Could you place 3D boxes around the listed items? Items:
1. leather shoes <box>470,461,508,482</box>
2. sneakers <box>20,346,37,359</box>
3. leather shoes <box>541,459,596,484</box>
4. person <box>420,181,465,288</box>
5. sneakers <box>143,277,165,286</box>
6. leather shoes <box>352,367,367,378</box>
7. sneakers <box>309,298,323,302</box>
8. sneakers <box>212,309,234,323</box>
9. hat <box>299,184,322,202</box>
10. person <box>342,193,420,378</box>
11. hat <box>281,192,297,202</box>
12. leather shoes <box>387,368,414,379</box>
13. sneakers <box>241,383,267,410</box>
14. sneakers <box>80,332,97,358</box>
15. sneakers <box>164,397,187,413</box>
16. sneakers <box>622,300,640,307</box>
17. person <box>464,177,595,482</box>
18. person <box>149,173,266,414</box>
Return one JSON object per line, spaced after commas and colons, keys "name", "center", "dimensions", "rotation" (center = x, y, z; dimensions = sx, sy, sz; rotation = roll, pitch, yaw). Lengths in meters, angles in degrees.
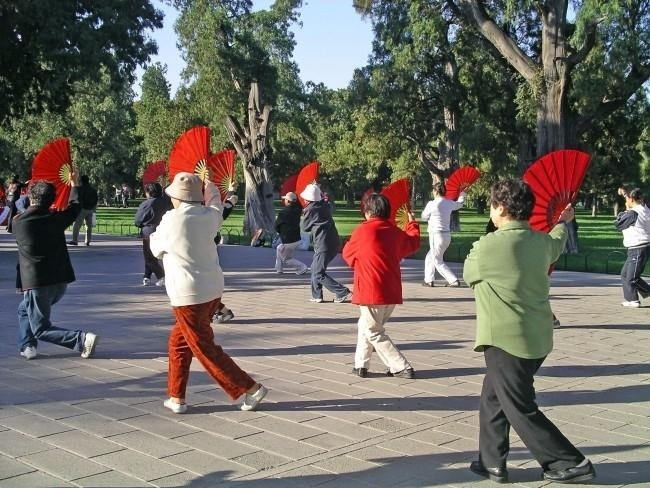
{"name": "leather shoes", "center": [1.860, 2.565, 10.388], "dimensions": [0.178, 0.165, 0.420], "rotation": [0, 6, -37]}
{"name": "sneakers", "center": [-4.349, 1.578, 13.349], "dimensions": [0.118, 0.115, 0.306], "rotation": [0, 4, -33]}
{"name": "leather shoes", "center": [2.775, 2.545, 10.238], "dimensions": [0.623, 0.248, 0.220], "rotation": [0, -4, -3]}
{"name": "person", "center": [2.501, -0.156, 19.469], "dimensions": [0.795, 2.258, 1.166], "rotation": [0, 12, 7]}
{"name": "sneakers", "center": [-3.668, 0.811, 19.440], "dimensions": [0.550, 0.190, 0.166], "rotation": [2, 0, -3]}
{"name": "leather shoes", "center": [0.483, 1.795, 12.832], "dimensions": [0.103, 0.113, 0.193], "rotation": [-2, 11, -27]}
{"name": "sneakers", "center": [-0.155, 1.074, 17.513], "dimensions": [0.208, 0.077, 0.083], "rotation": [4, 4, 44]}
{"name": "sneakers", "center": [-1.746, 1.238, 15.635], "dimensions": [0.439, 0.136, 0.183], "rotation": [-14, -12, -5]}
{"name": "hat", "center": [-0.258, -0.996, 17.884], "dimensions": [0.404, 0.237, 0.393], "rotation": [1, 8, -11]}
{"name": "person", "center": [0.825, 0.561, 12.876], "dimensions": [1.069, 2.503, 0.999], "rotation": [7, 14, 32]}
{"name": "hat", "center": [-0.801, -1.063, 20.888], "dimensions": [0.309, 0.185, 0.408], "rotation": [-2, 11, -5]}
{"name": "leather shoes", "center": [1.060, 1.792, 12.761], "dimensions": [0.369, 0.132, 0.134], "rotation": [1, 3, 29]}
{"name": "sneakers", "center": [-0.892, 1.984, 11.714], "dimensions": [0.188, 0.424, 0.214], "rotation": [33, 28, -32]}
{"name": "sneakers", "center": [-3.447, 1.466, 13.252], "dimensions": [0.287, 0.400, 0.149], "rotation": [3, 15, -6]}
{"name": "sneakers", "center": [-1.912, 2.044, 11.690], "dimensions": [0.317, 0.120, 0.149], "rotation": [11, 9, 44]}
{"name": "sneakers", "center": [5.794, 1.131, 17.229], "dimensions": [0.329, 0.118, 0.115], "rotation": [7, 3, 25]}
{"name": "person", "center": [2.230, 0.966, 10.379], "dimensions": [1.254, 3.307, 0.923], "rotation": [0, 12, 7]}
{"name": "person", "center": [-1.634, 0.595, 11.816], "dimensions": [1.175, 2.992, 1.203], "rotation": [-3, 12, -11]}
